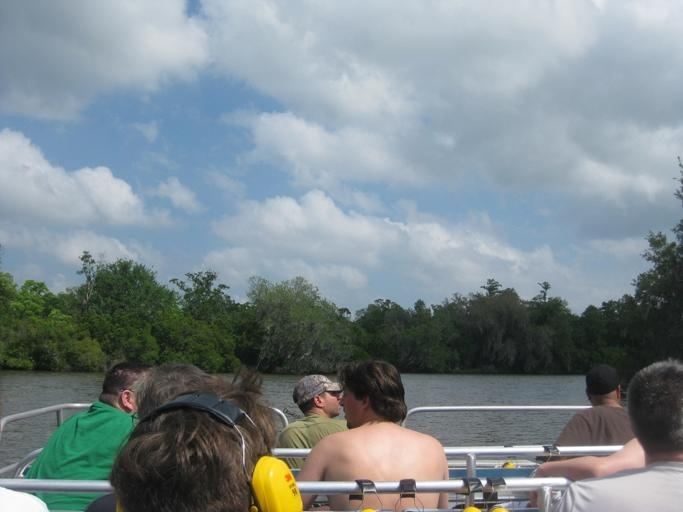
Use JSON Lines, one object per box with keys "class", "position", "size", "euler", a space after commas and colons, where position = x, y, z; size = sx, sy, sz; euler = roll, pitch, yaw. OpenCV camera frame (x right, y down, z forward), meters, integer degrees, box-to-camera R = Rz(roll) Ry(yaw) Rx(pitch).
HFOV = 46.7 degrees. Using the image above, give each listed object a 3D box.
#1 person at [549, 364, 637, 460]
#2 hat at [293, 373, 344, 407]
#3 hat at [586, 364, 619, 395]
{"class": "person", "position": [1.798, 1.113, 5.656], "size": [0.785, 0.682, 0.422], "euler": [0, -4, -10]}
{"class": "hat", "position": [-0.183, 1.004, 6.074], "size": [0.335, 0.231, 0.263], "euler": [-16, 5, -13]}
{"class": "hat", "position": [1.909, 0.880, 5.810], "size": [0.181, 0.265, 0.254], "euler": [0, 10, 6]}
